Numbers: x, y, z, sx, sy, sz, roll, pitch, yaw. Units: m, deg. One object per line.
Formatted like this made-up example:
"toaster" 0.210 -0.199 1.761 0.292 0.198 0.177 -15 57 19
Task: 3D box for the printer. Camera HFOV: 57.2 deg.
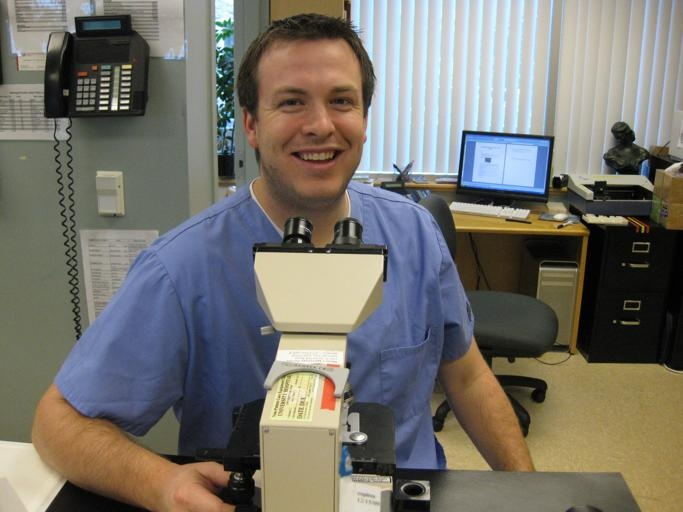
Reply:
"printer" 1.638 -0.374 3.851 0.482 0.232 0.359 4 11 19

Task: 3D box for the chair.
"chair" 0.775 0.316 3.300 0.594 1.131 0.710 9 29 27

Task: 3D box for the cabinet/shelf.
"cabinet/shelf" 1.689 0.227 3.722 0.446 0.835 0.165 1 10 5
